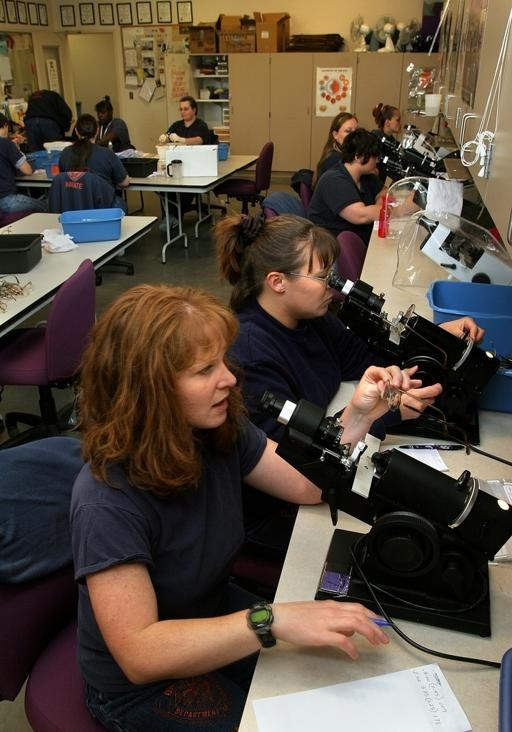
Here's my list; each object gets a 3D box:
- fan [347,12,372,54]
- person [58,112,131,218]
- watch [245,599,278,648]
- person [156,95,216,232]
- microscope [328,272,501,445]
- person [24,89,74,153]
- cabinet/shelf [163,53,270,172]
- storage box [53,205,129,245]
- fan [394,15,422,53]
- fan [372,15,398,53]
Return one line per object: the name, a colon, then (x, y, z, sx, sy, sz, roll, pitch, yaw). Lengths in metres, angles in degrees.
fan: (1.517, -4.806, 7.608, 0.303, 0.481, 0.724, 6, 27, 6)
person: (-1.486, -1.786, 4.909, 0.540, 1.020, 0.559, 0, 22, -4)
watch: (0.007, 0.374, 0.750, 0.038, 0.053, 0.035, -1, 27, -7)
person: (-0.979, -2.659, 6.845, 0.685, 1.515, 0.892, 13, 28, 19)
microscope: (0.382, -0.054, 1.526, 0.477, 0.467, 0.451, 3, 19, 4)
person: (-2.926, -3.422, 7.434, 0.646, 1.078, 0.607, 4, 20, -5)
cabinet/shelf: (-0.566, -3.287, 9.044, 1.060, 3.617, 0.985, 3, 28, 7)
storage box: (-1.058, -0.901, 3.354, 0.331, 0.142, 0.246, -4, 30, -4)
fan: (2.095, -4.583, 7.294, 0.350, 0.459, 0.440, 2, -18, -1)
fan: (1.865, -4.654, 7.354, 0.297, 0.458, 0.354, 3, 27, 1)
